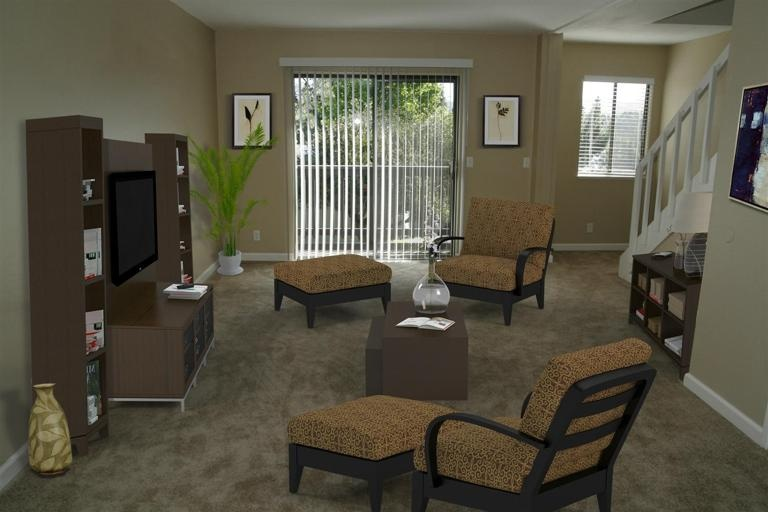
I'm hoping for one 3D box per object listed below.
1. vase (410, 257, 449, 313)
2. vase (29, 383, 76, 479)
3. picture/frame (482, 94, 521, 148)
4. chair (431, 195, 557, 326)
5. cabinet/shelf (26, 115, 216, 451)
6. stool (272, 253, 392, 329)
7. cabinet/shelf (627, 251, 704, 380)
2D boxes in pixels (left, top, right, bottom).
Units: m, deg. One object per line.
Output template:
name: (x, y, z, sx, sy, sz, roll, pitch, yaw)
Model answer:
vase: (0.404, 0.250, 4.586, 0.404, 0.647, 0.410, 0, 6, 2)
vase: (-2.139, 1.094, 3.306, 0.232, 0.598, 0.169, -10, 17, -33)
picture/frame: (1.724, -2.022, 7.697, 0.709, 0.982, 0.051, 0, 4, -5)
chair: (1.211, 0.018, 5.897, 1.144, 1.157, 1.234, -14, 18, -42)
cabinet/shelf: (-1.988, -0.081, 4.521, 0.888, 2.155, 2.646, -1, 14, -4)
stool: (-0.577, 0.365, 5.733, 1.233, 0.568, 0.711, -4, 15, -16)
cabinet/shelf: (2.475, 0.520, 4.531, 0.305, 0.737, 0.967, 1, 10, 8)
